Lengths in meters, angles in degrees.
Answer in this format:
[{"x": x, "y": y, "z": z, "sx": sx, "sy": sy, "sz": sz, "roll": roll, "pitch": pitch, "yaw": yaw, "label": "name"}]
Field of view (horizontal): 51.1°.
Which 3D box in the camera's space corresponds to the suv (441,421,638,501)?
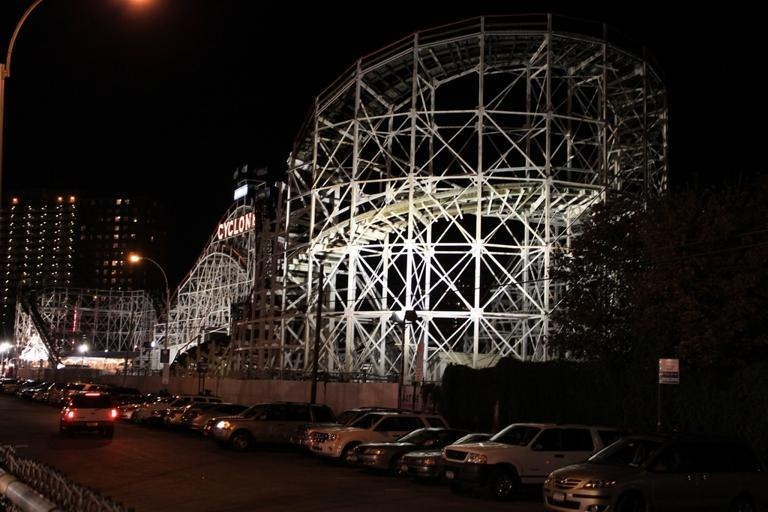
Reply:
[{"x": 4.560, "y": 6.242, "z": 24.521, "sx": 4.689, "sy": 1.728, "sz": 2.480, "roll": 6, "pitch": -13, "yaw": -19, "label": "suv"}]
